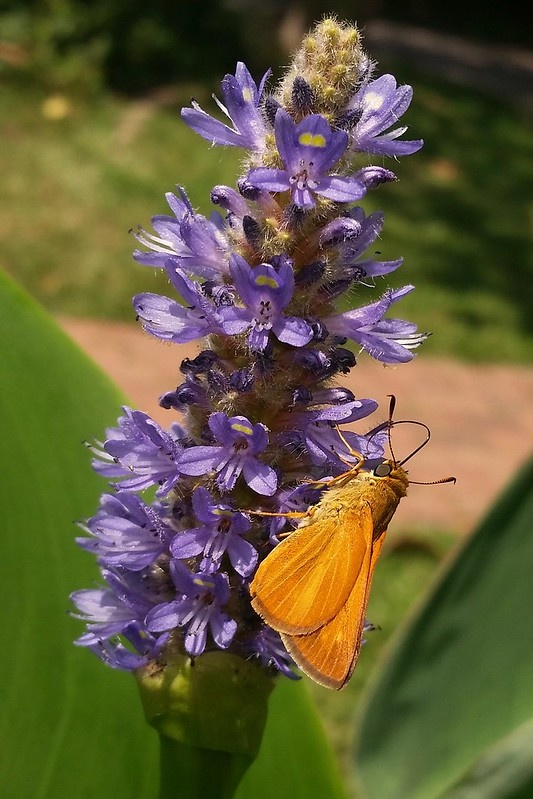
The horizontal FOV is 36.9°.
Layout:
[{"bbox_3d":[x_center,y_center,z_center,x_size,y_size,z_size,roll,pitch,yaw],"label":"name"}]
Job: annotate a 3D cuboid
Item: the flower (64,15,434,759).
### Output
[{"bbox_3d":[-0.070,-0.001,1.954,0.679,1.742,0.841,17,27,31],"label":"flower"}]
